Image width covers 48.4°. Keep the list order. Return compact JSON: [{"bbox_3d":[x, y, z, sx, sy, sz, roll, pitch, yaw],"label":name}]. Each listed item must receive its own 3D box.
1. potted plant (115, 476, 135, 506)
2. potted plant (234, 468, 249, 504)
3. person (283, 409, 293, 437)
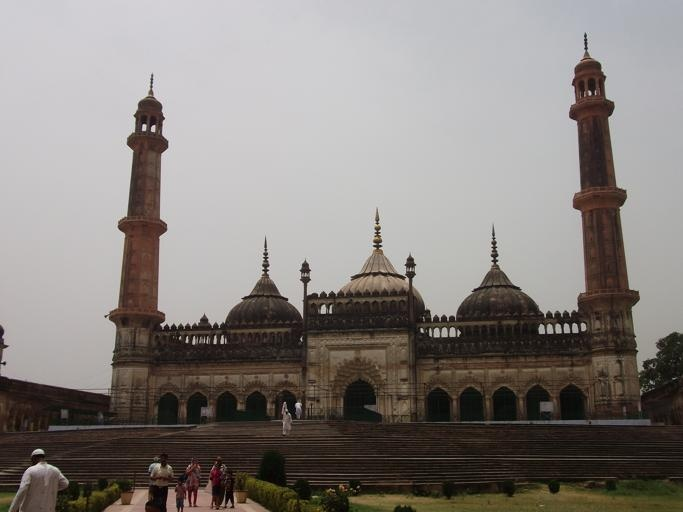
[{"bbox_3d":[-6.018,6.510,21.062,0.550,0.713,0.615,-1,-6,-2],"label":"potted plant"},{"bbox_3d":[-2.832,6.549,21.435,0.577,1.100,0.483,1,-11,-16],"label":"potted plant"},{"bbox_3d":[-2.112,6.443,29.272,0.337,0.987,0.866,1,-18,-8],"label":"person"}]
